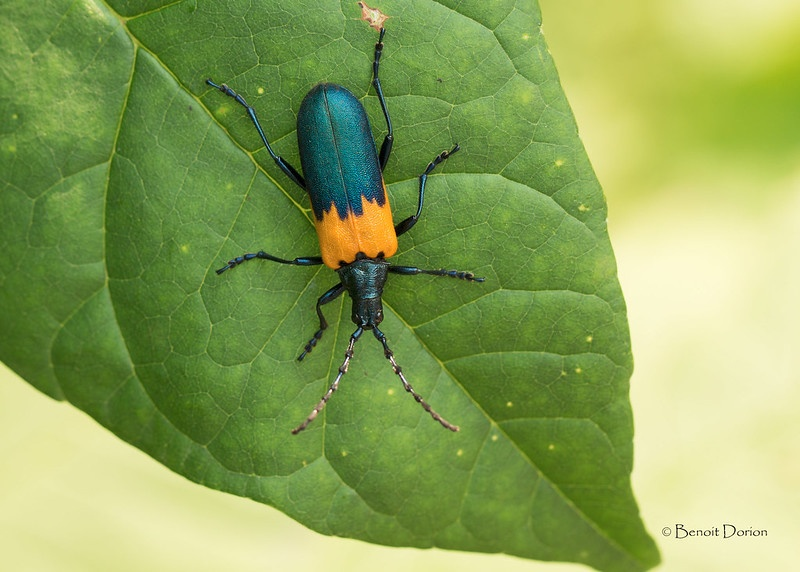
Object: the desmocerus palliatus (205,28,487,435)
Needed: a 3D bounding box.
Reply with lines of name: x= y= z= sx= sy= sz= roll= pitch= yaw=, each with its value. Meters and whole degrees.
desmocerus palliatus: x=-0.450 y=-0.338 z=5.641 sx=1.243 sy=1.649 sz=2.144 roll=-6 pitch=-53 yaw=20
